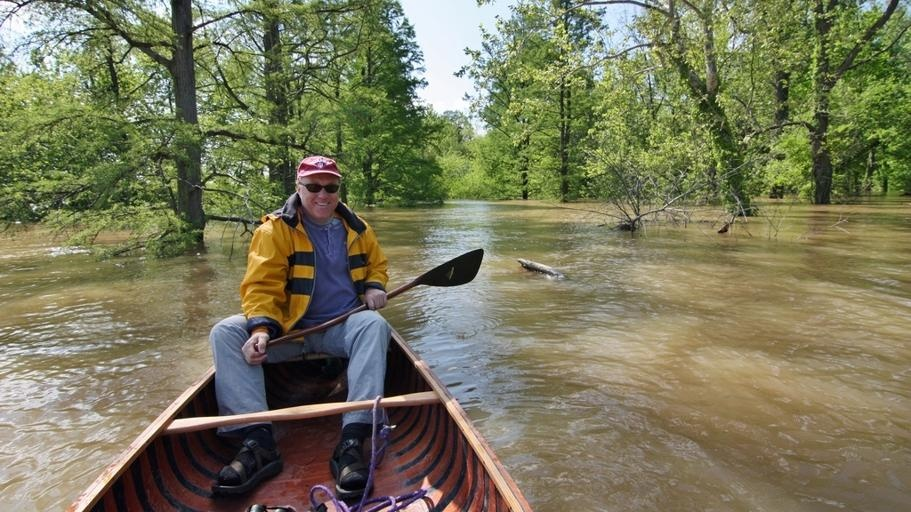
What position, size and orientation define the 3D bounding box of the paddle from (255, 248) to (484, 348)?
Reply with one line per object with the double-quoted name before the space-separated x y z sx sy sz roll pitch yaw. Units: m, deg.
"paddle" -1.493 0.786 9.734 4.644 0.538 0.205 -20 -12 -16
